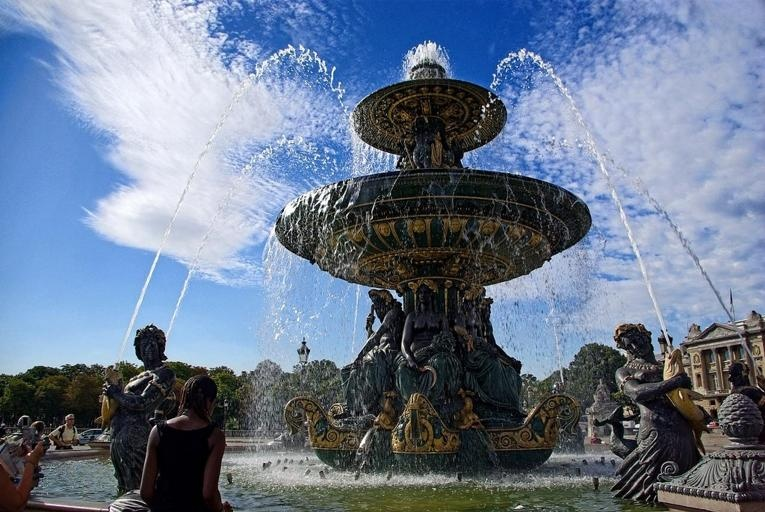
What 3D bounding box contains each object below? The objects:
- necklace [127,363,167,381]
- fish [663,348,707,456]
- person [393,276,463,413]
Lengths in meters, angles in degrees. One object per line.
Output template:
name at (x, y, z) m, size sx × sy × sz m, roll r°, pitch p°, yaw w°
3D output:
necklace at (-2.964, 1.495, 6.841) m, size 0.322 × 0.121 × 0.253 m, roll -7°, pitch 2°, yaw 24°
fish at (3.794, 1.774, 6.738) m, size 0.366 × 1.353 × 0.806 m, roll -16°, pitch -25°, yaw 39°
person at (0.866, 1.749, 10.168) m, size 1.202 × 2.591 × 0.766 m, roll -2°, pitch -19°, yaw 6°
